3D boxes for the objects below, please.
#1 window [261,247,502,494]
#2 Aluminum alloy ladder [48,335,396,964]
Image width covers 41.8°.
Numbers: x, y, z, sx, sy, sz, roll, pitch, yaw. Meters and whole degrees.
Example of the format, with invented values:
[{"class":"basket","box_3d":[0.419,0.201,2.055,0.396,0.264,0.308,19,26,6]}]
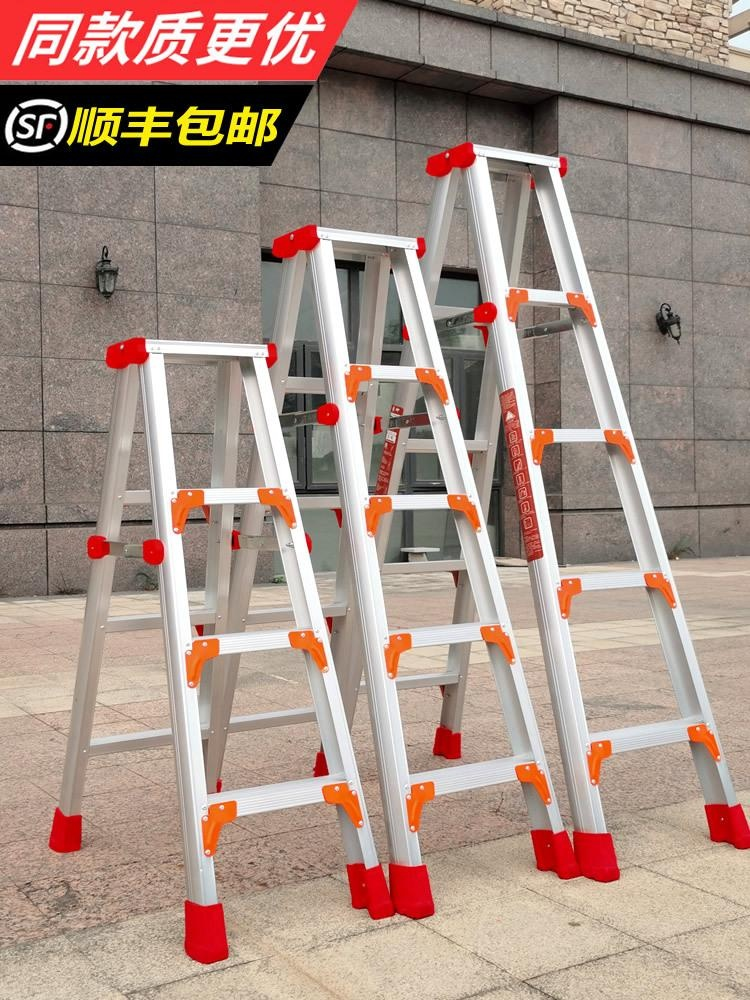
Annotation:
[{"class":"window","box_3d":[-0.406,-2.185,12.898,2.479,2.288,1.805,-6,6,-37]},{"class":"Aluminum alloy ladder","box_3d":[-0.440,0.283,2.643,0.829,1.382,1.100,-1,0,-19]}]
